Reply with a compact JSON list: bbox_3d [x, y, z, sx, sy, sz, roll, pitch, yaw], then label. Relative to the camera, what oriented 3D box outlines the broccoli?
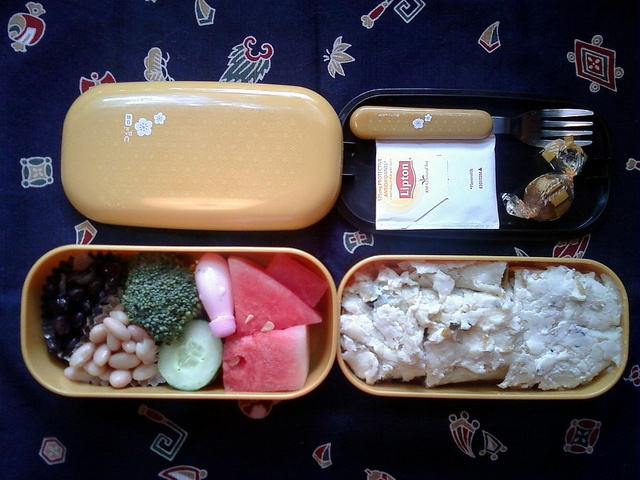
[{"bbox_3d":[-0.478,0.176,1.751,0.278,0.088,0.242,33,76,4],"label":"broccoli"}]
